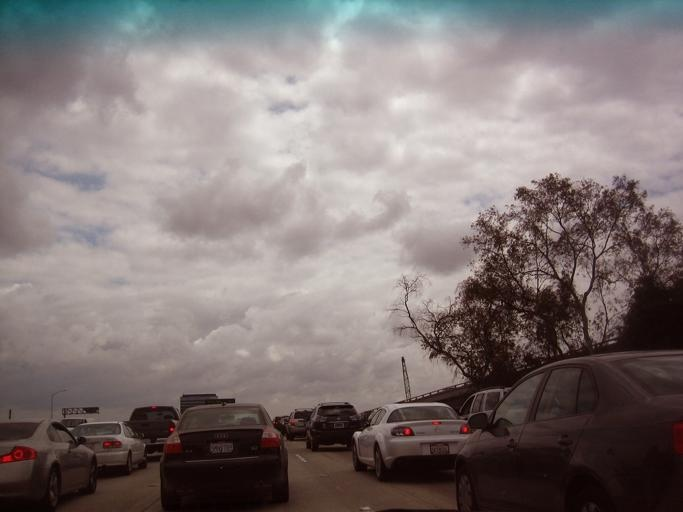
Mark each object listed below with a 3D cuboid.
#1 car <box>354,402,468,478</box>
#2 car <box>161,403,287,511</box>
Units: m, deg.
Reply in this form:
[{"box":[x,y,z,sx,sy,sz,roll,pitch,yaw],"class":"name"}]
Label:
[{"box":[1.598,4.536,13.567,1.782,1.783,3.369,1,-12,-22],"class":"car"},{"box":[-2.123,3.738,10.157,2.248,1.806,1.244,-1,-11,-14],"class":"car"}]
